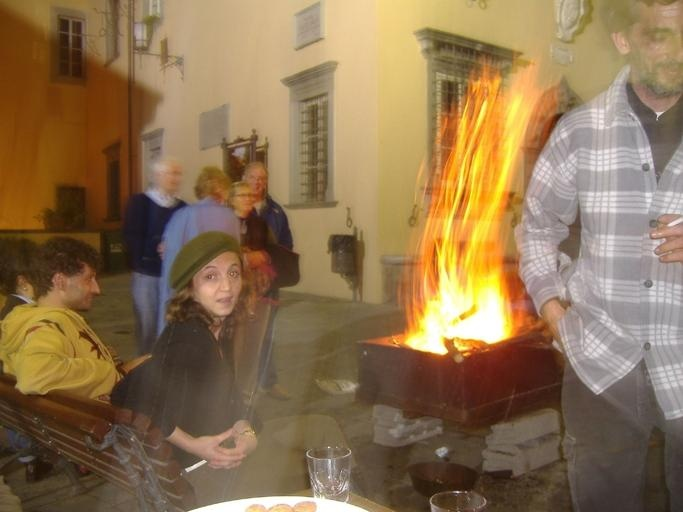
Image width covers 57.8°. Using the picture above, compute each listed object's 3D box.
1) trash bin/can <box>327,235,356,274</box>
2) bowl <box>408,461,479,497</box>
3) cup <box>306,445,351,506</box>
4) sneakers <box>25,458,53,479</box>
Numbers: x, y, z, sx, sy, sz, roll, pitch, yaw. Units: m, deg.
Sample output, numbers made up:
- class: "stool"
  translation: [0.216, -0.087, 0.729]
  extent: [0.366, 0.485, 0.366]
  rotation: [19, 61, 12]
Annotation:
- class: "trash bin/can"
  translation: [0.006, -0.011, 10.133]
  extent: [0.498, 0.779, 0.559]
  rotation: [-2, -2, 24]
- class: "bowl"
  translation: [0.686, 1.531, 4.196]
  extent: [0.425, 0.208, 0.298]
  rotation: [5, 9, 34]
- class: "cup"
  translation: [-0.039, 0.923, 2.666]
  extent: [0.206, 0.270, 0.223]
  rotation: [-1, -10, 0]
- class: "sneakers"
  translation: [-2.278, 1.587, 4.650]
  extent: [0.153, 0.169, 0.141]
  rotation: [2, 1, 35]
